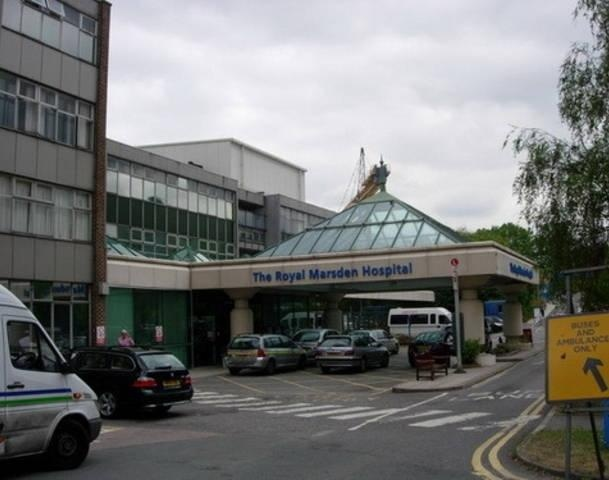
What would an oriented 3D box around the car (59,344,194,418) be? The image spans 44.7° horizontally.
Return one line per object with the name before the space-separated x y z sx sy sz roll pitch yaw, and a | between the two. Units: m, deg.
car | -5.151 3.710 20.599 3.589 1.448 1.757 1 -6 32
